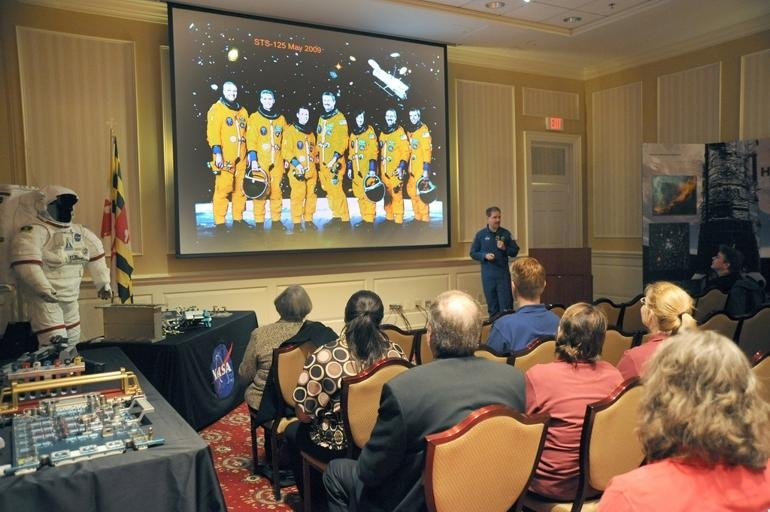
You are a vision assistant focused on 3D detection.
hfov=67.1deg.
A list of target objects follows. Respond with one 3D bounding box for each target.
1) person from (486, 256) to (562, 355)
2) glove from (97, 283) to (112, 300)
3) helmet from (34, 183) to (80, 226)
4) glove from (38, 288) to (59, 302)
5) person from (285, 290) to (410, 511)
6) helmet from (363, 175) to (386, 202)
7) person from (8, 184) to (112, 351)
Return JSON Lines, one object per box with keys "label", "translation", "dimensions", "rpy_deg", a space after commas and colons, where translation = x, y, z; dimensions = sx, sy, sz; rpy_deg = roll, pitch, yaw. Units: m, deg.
{"label": "person", "translation": [1.196, 0.416, 5.154], "dimensions": [0.693, 1.059, 0.495], "rpy_deg": [-3, 11, -11]}
{"label": "glove", "translation": [-2.686, 0.343, 5.572], "dimensions": [0.157, 0.160, 0.066], "rpy_deg": [9, -4, -7]}
{"label": "helmet", "translation": [-2.946, -0.454, 5.207], "dimensions": [0.301, 0.331, 0.362], "rpy_deg": [1, -4, -43]}
{"label": "glove", "translation": [-2.920, 0.342, 5.013], "dimensions": [0.121, 0.118, 0.096], "rpy_deg": [-22, 11, 19]}
{"label": "person", "translation": [-0.267, 1.085, 3.897], "dimensions": [0.755, 1.582, 0.857], "rpy_deg": [0, 2, -20]}
{"label": "helmet", "translation": [-0.145, -0.914, 7.783], "dimensions": [0.245, 0.346, 0.094], "rpy_deg": [-22, 5, -10]}
{"label": "person", "translation": [-2.967, 0.079, 5.263], "dimensions": [0.401, 1.408, 0.769], "rpy_deg": [0, 4, 33]}
